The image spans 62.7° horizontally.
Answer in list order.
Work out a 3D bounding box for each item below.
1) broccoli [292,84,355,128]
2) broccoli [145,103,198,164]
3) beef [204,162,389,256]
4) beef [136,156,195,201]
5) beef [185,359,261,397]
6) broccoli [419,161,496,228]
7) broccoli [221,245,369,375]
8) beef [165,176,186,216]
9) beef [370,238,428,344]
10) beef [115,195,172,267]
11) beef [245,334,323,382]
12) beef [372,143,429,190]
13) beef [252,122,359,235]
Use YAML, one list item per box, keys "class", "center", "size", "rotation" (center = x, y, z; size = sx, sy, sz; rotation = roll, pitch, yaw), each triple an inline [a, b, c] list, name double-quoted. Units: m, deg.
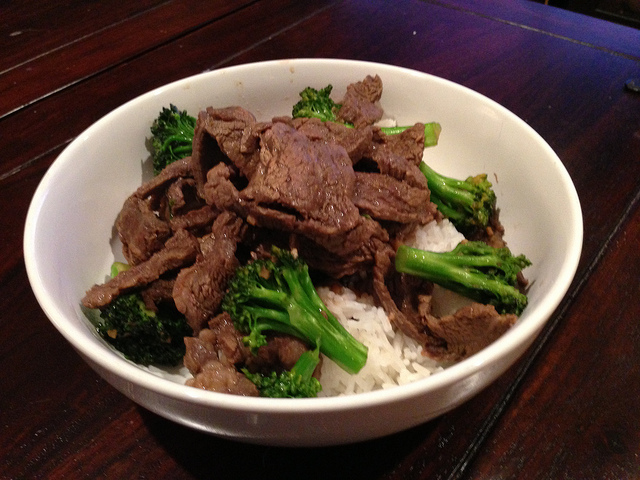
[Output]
- class: "broccoli"
  center: [0.028, -0.752, 2.898]
  size: [0.309, 0.259, 0.223]
  rotation: [9, 21, 31]
- class: "broccoli"
  center: [-0.748, -0.536, 2.843]
  size: [0.293, 0.150, 0.365]
  rotation: [-15, 73, -10]
- class: "beef"
  center: [-0.127, -0.220, 2.480]
  size: [0.732, 0.433, 0.512]
  rotation: [1, 13, 17]
- class: "beef"
  center: [-0.743, -0.297, 2.573]
  size: [0.270, 0.076, 0.066]
  rotation: [-40, 61, -15]
- class: "beef"
  center: [-0.385, 0.565, 2.159]
  size: [0.309, 0.071, 0.150]
  rotation: [11, 56, 6]
- class: "broccoli"
  center: [0.665, -0.225, 2.647]
  size: [0.362, 0.232, 0.248]
  rotation: [10, 25, 3]
- class: "broccoli"
  center: [-0.133, 0.263, 2.474]
  size: [0.575, 0.510, 0.873]
  rotation: [-2, 14, -14]
- class: "beef"
  center: [-0.680, -0.202, 2.515]
  size: [0.100, 0.043, 0.173]
  rotation: [-20, 63, 34]
- class: "beef"
  center: [0.329, 0.245, 2.394]
  size: [0.286, 0.069, 0.437]
  rotation: [-39, 96, -34]
- class: "beef"
  center: [-0.835, -0.040, 2.430]
  size: [0.275, 0.072, 0.310]
  rotation: [5, 91, 1]
- class: "beef"
  center: [-0.164, 0.501, 2.209]
  size: [0.242, 0.070, 0.216]
  rotation: [12, 94, -7]
- class: "beef"
  center: [0.387, -0.358, 2.531]
  size: [0.285, 0.073, 0.167]
  rotation: [35, 39, 0]
- class: "beef"
  center: [-0.050, -0.273, 2.304]
  size: [0.463, 0.263, 0.424]
  rotation: [4, 55, 2]
